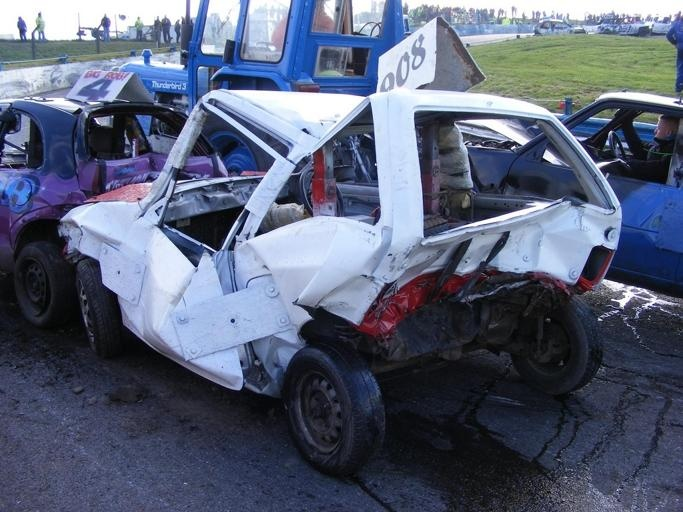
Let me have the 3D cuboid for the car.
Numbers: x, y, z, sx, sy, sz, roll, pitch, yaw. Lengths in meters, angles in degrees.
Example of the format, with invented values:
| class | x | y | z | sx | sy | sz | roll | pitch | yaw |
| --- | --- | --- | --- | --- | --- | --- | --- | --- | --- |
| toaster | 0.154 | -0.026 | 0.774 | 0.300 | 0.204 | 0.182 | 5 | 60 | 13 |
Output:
| class | x | y | z | sx | sy | sz | roll | pitch | yaw |
| --- | --- | --- | --- | --- | --- | --- | --- | --- | --- |
| car | -0.524 | -0.648 | 4.252 | 4.443 | 2.265 | 2.873 | 24 | 30 | 39 |

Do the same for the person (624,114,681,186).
| class | x | y | z | sx | sy | sz | roll | pitch | yaw |
| --- | --- | --- | --- | --- | --- | --- | --- | --- | --- |
| person | 3.454 | -1.107 | 5.624 | 0.342 | 0.748 | 0.765 | 5 | 19 | 10 |
